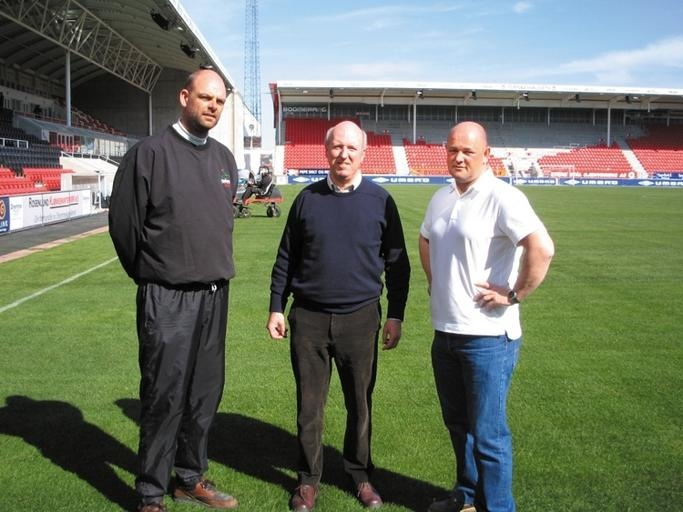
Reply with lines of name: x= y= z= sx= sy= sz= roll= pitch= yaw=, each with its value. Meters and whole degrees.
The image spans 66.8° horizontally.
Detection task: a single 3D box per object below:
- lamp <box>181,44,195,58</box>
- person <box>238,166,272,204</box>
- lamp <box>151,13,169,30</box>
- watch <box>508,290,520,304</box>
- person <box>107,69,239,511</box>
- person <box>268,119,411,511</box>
lamp: x=-8.922 y=-12.970 z=29.855 sx=0.723 sy=0.796 sz=0.668 roll=2 pitch=9 yaw=21
person: x=-3.465 y=-3.106 z=19.919 sx=1.392 sy=1.806 sz=0.749 roll=5 pitch=4 yaw=-7
lamp: x=-8.983 y=-12.543 z=25.454 sx=0.809 sy=0.769 sz=0.913 roll=-4 pitch=9 yaw=-17
watch: x=0.922 y=0.192 z=2.779 sx=0.046 sy=0.082 sz=0.079 roll=-7 pitch=-36 yaw=14
person: x=-0.967 y=0.165 z=3.011 sx=0.708 sy=2.659 sz=0.461 roll=-3 pitch=7 yaw=-14
person: x=-0.004 y=0.291 z=3.164 sx=0.914 sy=2.375 sz=0.576 roll=-3 pitch=7 yaw=-9
